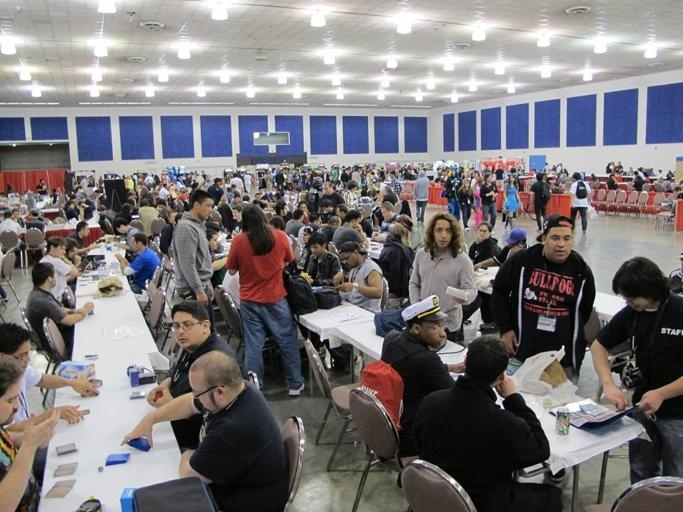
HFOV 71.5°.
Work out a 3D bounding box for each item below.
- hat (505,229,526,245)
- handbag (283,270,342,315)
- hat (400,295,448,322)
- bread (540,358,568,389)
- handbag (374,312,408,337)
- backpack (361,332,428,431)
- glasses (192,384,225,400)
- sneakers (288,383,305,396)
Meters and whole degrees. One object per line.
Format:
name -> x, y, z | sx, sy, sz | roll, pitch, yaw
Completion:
hat -> 2.032, -0.235, 5.665 | 0.302, 0.179, 0.202 | 3, 18, 20
handbag -> -0.319, 0.362, 5.061 | 0.523, 0.404, 0.369 | -7, 12, -14
hat -> 0.508, 0.336, 2.962 | 0.238, 0.107, 0.162 | -9, -3, 27
bread -> 1.363, 0.747, 3.059 | 0.192, 0.192, 0.121 | -5, 7, -22
handbag -> 0.439, 0.587, 4.230 | 0.237, 0.104, 0.239 | -5, 0, -19
backpack -> 0.257, 0.722, 3.126 | 0.338, 0.649, 0.607 | -4, -1, -35
glasses -> -0.677, 0.682, 2.400 | 0.113, 0.034, 0.110 | -19, 2, -30
sneakers -> -0.468, 1.389, 4.968 | 0.073, 0.092, 0.217 | 4, 13, 24
